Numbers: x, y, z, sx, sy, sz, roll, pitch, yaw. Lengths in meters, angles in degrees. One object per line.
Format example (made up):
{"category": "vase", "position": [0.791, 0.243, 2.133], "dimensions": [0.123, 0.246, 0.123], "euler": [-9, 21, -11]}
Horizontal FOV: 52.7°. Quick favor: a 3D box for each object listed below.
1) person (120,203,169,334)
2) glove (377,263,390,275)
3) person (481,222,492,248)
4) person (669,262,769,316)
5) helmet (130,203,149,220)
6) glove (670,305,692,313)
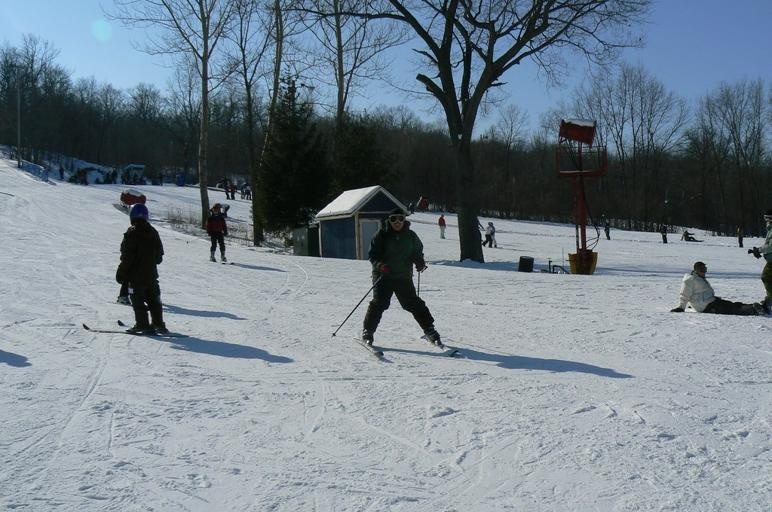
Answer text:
{"category": "person", "position": [-4.869, 0.267, 15.645], "dimensions": [0.728, 2.545, 0.810], "euler": [3, 3, 21]}
{"category": "glove", "position": [-0.056, 0.259, 15.259], "dimensions": [0.176, 0.180, 0.043], "euler": [-2, -21, 4]}
{"category": "person", "position": [5.390, -1.057, 41.021], "dimensions": [0.548, 1.233, 2.359], "euler": [2, 3, 7]}
{"category": "person", "position": [7.696, 0.720, 17.911], "dimensions": [1.575, 0.922, 1.206], "euler": [0, 1, 30]}
{"category": "helmet", "position": [-4.951, -0.888, 15.689], "dimensions": [0.293, 0.401, 0.376], "euler": [5, -15, -16]}
{"category": "glove", "position": [6.857, 1.223, 18.103], "dimensions": [0.419, 0.173, 0.132], "euler": [-2, 6, 2]}
